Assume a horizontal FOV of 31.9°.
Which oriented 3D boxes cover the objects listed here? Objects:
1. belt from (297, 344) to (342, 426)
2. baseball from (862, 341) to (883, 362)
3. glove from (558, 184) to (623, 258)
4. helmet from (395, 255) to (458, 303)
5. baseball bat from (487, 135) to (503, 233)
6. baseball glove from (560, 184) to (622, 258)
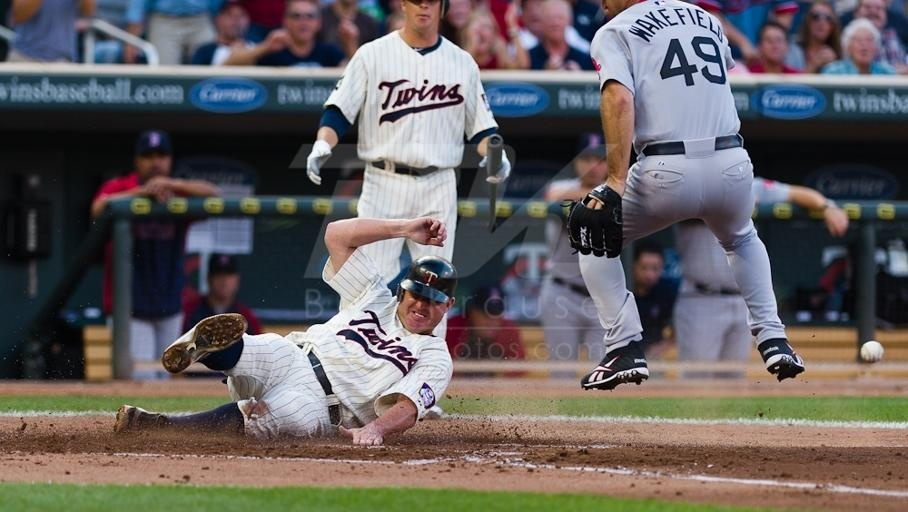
[{"bbox_3d":[-0.953,0.960,11.317,0.242,0.541,0.208,2,0,8],"label":"belt"},{"bbox_3d":[3.525,0.838,13.306,0.134,0.125,0.129,22,-47,-36],"label":"baseball"},{"bbox_3d":[1.027,-0.223,11.392,0.409,0.502,0.237,4,15,18],"label":"glove"},{"bbox_3d":[-0.224,0.185,11.532,0.337,0.344,0.641,0,1,3],"label":"helmet"},{"bbox_3d":[0.322,-0.560,12.274,0.192,0.745,0.127,-7,28,-14],"label":"baseball bat"},{"bbox_3d":[1.027,-0.229,11.393,0.394,0.504,0.235,3,13,17],"label":"baseball glove"}]
